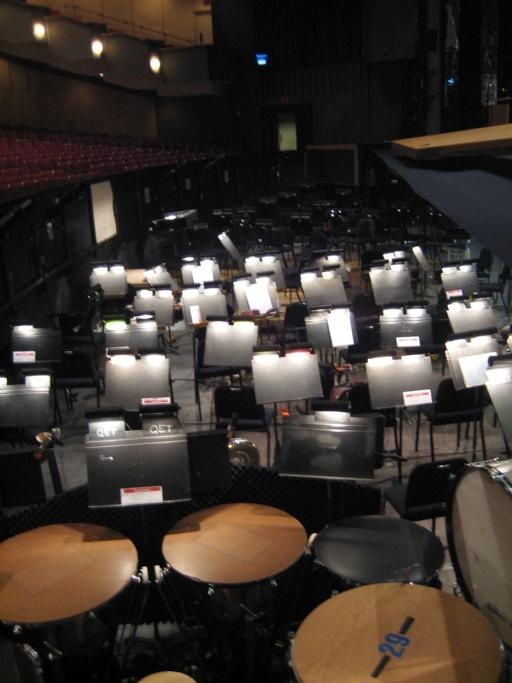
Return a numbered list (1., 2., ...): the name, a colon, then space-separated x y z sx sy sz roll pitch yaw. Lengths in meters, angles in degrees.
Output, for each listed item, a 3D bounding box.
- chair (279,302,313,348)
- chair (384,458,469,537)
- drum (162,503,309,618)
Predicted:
1. chair: 0.717 -0.320 9.502 0.525 0.887 0.572 1 22 13
2. chair: 1.402 1.389 4.670 0.519 0.915 0.590 4 12 -7
3. drum: -0.081 1.703 3.837 0.844 0.645 0.863 -5 18 2
